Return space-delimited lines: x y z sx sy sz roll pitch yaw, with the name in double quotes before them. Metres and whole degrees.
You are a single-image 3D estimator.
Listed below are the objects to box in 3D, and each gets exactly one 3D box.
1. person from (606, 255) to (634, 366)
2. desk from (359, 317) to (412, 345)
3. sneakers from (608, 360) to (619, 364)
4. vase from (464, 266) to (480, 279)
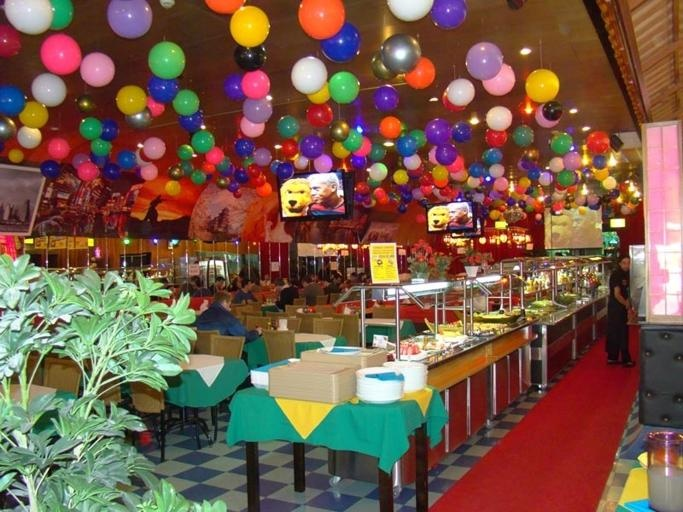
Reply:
"person" 4.430 0.826 8.309 0.405 1.786 1.176 -5 -11 29
"desk" 0.703 1.158 8.160 0.745 0.420 0.776 -2 -5 18
"sneakers" 4.126 1.624 7.909 0.178 0.062 0.075 2 -13 -10
"vase" 1.678 0.184 6.711 0.236 0.178 0.245 2 5 14
